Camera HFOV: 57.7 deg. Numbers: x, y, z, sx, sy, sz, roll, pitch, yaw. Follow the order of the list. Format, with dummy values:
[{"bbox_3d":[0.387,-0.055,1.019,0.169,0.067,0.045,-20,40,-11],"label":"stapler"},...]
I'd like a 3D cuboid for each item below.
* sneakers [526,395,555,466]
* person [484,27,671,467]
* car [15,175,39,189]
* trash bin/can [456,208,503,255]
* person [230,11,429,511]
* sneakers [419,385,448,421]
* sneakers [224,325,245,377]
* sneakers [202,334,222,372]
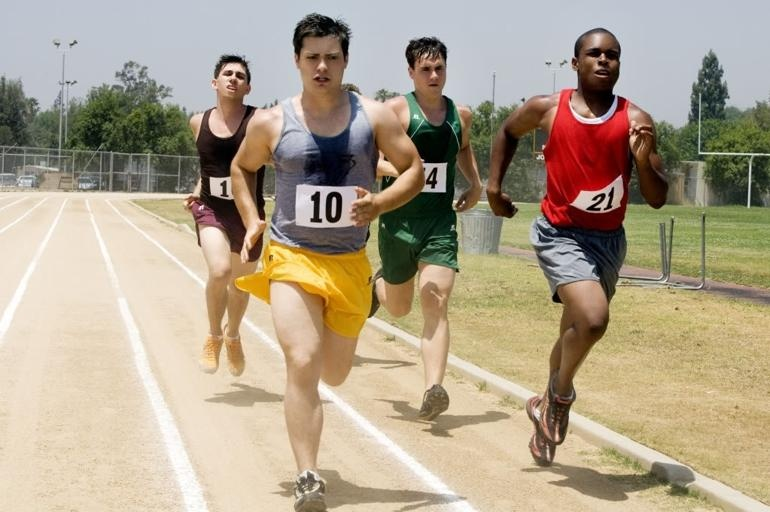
[{"bbox_3d":[1.242,1.469,5.661,0.190,0.601,0.277,-8,9,-5],"label":"sneakers"},{"bbox_3d":[1.515,-0.010,5.490,1.130,3.486,1.113,-1,6,-16],"label":"person"},{"bbox_3d":[-32.345,-6.677,62.980,1.606,0.844,1.012,3,4,-21],"label":"car"},{"bbox_3d":[2.605,-0.637,18.875,1.251,1.359,1.314,0,2,1],"label":"trash bin/can"},{"bbox_3d":[-0.540,-0.072,5.238,1.163,3.354,1.063,7,9,44],"label":"person"},{"bbox_3d":[0.436,1.319,6.313,0.173,0.358,0.179,7,47,-12],"label":"sneakers"},{"bbox_3d":[-1.589,1.019,7.392,0.178,0.572,0.215,-9,5,-10],"label":"sneakers"},{"bbox_3d":[-1.827,1.036,7.311,0.142,0.472,0.178,2,-13,-15],"label":"sneakers"}]
